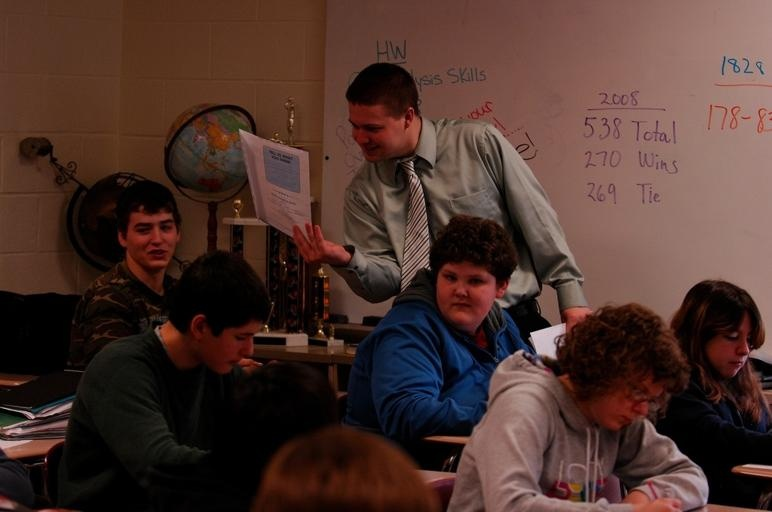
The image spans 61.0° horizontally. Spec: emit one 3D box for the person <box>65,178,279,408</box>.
[{"bbox_3d":[-1.177,0.232,3.648,0.913,1.452,0.862,2,-11,-39],"label":"person"}]

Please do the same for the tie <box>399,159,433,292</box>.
[{"bbox_3d":[0.132,-0.127,2.814,0.129,0.546,0.075,-8,-9,29],"label":"tie"}]

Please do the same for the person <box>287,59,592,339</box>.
[{"bbox_3d":[0.318,-0.285,3.039,0.997,1.791,0.814,-14,-12,-39],"label":"person"}]

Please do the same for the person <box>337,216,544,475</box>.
[{"bbox_3d":[0.196,0.334,2.493,0.674,0.914,0.729,-5,24,-17],"label":"person"}]
